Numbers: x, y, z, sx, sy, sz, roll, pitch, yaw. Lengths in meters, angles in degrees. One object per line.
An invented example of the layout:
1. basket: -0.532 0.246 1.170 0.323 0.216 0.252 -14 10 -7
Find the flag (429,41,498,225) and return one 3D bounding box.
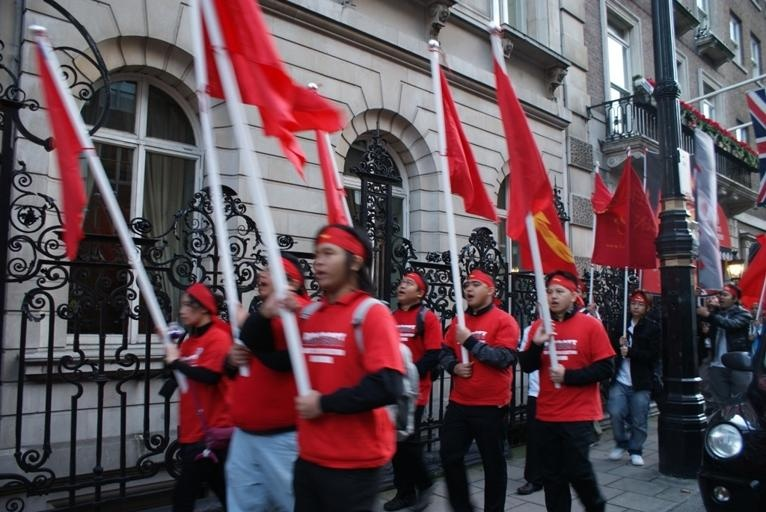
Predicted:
1. flag: 0.994 -1.464 9.077 0.589 0.467 3.025 0 -36 20

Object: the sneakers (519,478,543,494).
1. sneakers: 2.071 3.224 9.573 0.373 0.166 0.141 5 -10 -28

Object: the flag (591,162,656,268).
1. flag: 4.041 -0.682 11.234 1.138 1.780 0.736 2 -9 -27

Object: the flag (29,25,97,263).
1. flag: -3.434 -1.331 7.153 0.405 0.194 2.110 -2 -39 -8

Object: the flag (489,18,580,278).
1. flag: 1.859 -1.272 8.545 0.781 3.017 1.297 -5 -9 19
